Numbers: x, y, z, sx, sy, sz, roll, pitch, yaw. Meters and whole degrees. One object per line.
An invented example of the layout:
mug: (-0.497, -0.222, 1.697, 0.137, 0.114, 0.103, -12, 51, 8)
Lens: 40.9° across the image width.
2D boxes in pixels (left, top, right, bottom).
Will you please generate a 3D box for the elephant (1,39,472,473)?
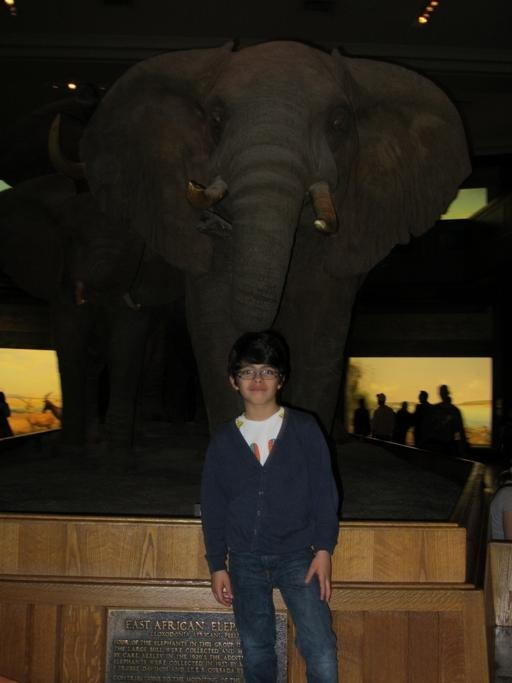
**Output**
elephant: (-0.206, -0.238, 2.784, 1.135, 1.072, 1.711, 3, -13, -11)
